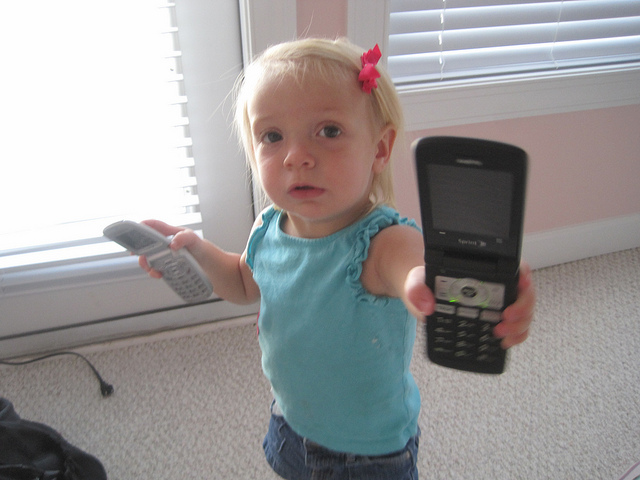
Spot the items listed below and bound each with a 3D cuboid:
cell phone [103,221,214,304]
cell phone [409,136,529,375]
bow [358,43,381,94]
[{"bbox_3d":[-0.298,0.037,0.995,0.102,0.231,0.055,-30,22,32],"label":"cell phone"},{"bbox_3d":[0.197,0.032,0.672,0.136,0.348,0.038,8,33,26],"label":"cell phone"},{"bbox_3d":[0.080,-0.276,0.820,0.031,0.062,0.065,3,40,12],"label":"bow"}]
